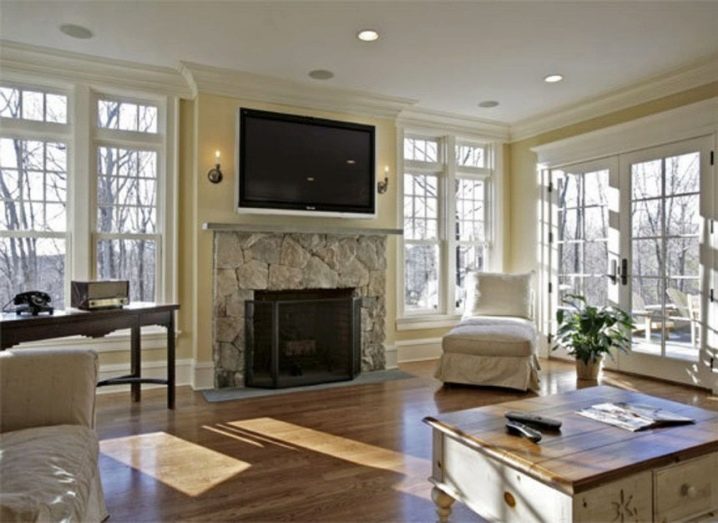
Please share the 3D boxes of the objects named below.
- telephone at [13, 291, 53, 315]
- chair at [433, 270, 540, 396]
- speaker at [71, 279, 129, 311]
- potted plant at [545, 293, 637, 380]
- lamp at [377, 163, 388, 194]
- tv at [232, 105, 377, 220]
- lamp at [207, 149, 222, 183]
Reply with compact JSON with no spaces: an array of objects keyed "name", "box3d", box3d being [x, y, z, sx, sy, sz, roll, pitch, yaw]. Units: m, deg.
[{"name":"telephone","box3d":[-2.316,0.300,3.819,0.237,0.157,0.278,0,0,-35]},{"name":"chair","box3d":[1.330,0.678,5.448,0.953,1.080,1.008,0,0,18]},{"name":"speaker","box3d":[-2.031,0.262,4.159,0.241,0.222,0.360,-3,-4,39]},{"name":"potted plant","box3d":[2.286,0.794,5.599,0.831,0.825,0.838,3,-5,-20]},{"name":"lamp","box3d":[0.275,-0.909,5.884,0.169,0.343,0.110,0,1,-17]},{"name":"tv","box3d":[-0.611,-0.998,5.409,1.282,0.859,0.128,2,-4,-23]},{"name":"lamp","box3d":[-1.388,-0.910,5.158,0.126,0.337,0.121,0,1,16]}]
